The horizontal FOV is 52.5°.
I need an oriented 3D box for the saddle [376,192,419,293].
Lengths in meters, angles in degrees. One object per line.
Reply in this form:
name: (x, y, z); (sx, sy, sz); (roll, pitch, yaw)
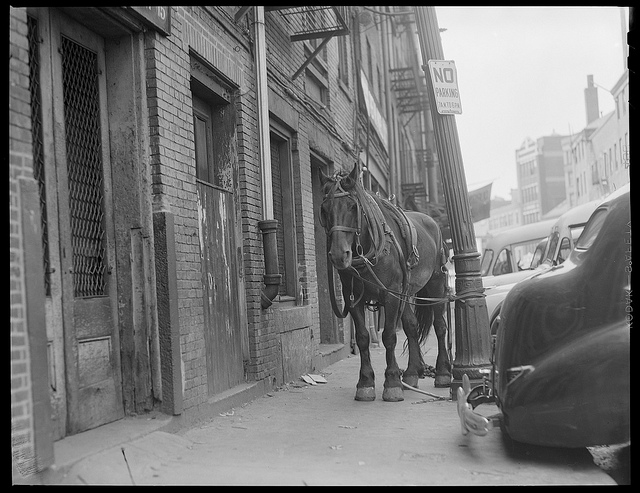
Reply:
saddle: (1.101, -0.139, 8.672); (0.369, 1.115, 0.717); (-1, 0, -26)

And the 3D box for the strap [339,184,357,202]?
strap: (0.325, -0.639, 7.661); (0.198, 0.202, 0.054); (0, -1, 4)

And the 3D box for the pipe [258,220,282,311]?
pipe: (-0.689, 0.243, 8.910); (0.313, 1.221, 0.187); (0, -1, -24)

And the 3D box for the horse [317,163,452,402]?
horse: (0.980, 0.515, 8.825); (1.317, 2.920, 3.362); (-1, -1, 23)

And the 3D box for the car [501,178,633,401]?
car: (2.042, 0.425, 5.692); (1.596, 1.035, 0.995); (-22, -4, 4)

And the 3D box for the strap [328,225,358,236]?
strap: (0.280, -0.198, 7.597); (0.341, 0.104, 0.232); (0, -2, -4)
